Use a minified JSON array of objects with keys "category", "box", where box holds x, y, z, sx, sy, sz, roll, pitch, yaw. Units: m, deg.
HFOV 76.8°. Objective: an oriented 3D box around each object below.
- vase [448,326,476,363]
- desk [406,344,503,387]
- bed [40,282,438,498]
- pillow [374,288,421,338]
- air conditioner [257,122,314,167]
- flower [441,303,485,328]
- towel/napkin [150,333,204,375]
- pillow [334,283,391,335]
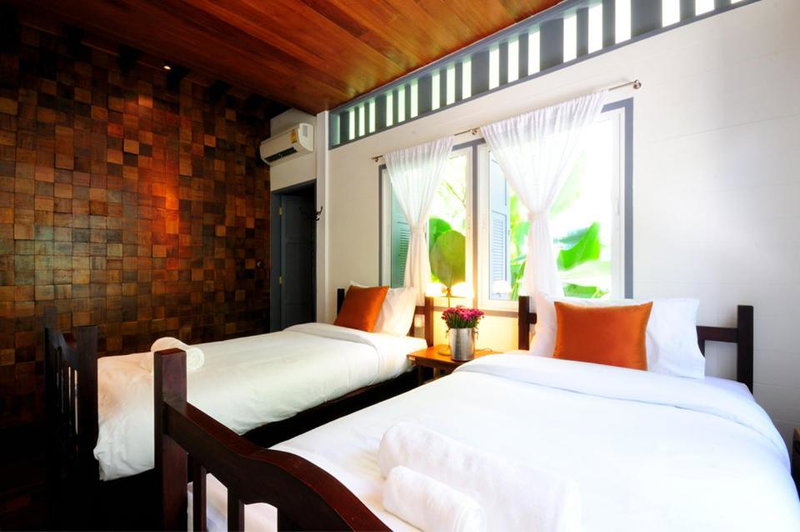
[{"category":"vase","box":[0.572,0.709,4.592,0.303,0.290,0.309,-1,-2,8]},{"category":"desk","box":[0.431,1.015,4.708,0.519,0.447,0.465,-1,10,31]},{"category":"bed","box":[-1.259,0.746,4.020,1.251,0.828,2.090,-1,-1,42]},{"category":"pillow","box":[-0.009,0.452,5.042,0.451,0.463,0.169,-2,-26,36]},{"category":"air conditioner","box":[-1.442,-1.505,6.377,0.875,0.354,0.270,-5,1,42]},{"category":"flower","box":[0.557,0.469,4.577,0.241,0.148,0.243,1,1,-2]},{"category":"towel/napkin","box":[-1.644,0.639,3.697,0.397,0.169,0.212,4,-1,39]},{"category":"pillow","box":[-0.378,0.427,5.088,0.487,0.458,0.150,-2,-28,40]}]
